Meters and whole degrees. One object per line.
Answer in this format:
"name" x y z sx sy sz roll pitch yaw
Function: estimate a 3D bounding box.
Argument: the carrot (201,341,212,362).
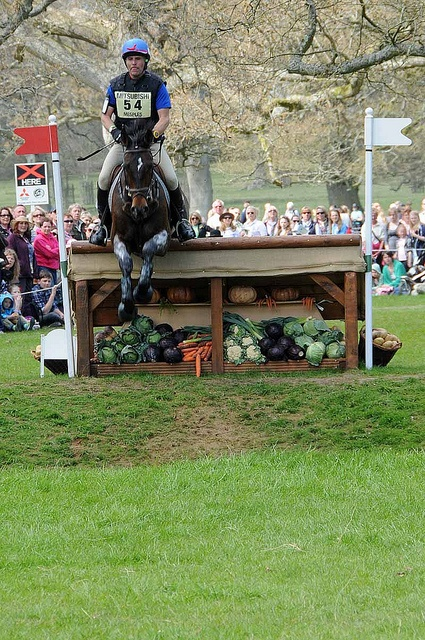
"carrot" -0.069 0.359 10.229 0.142 0.213 0.076 3 -23 14

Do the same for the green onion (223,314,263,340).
"green onion" 0.369 0.070 10.428 0.670 0.176 0.199 18 12 36

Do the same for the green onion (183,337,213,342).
"green onion" -0.176 0.211 10.320 0.376 0.086 0.053 -1 -29 -24

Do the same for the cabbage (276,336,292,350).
"cabbage" 0.853 0.258 10.249 0.169 0.136 0.183 3 1 15

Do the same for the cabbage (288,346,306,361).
"cabbage" 0.954 0.365 10.234 0.203 0.160 0.211 1 2 -16

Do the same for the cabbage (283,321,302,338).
"cabbage" 0.960 0.109 10.409 0.165 0.163 0.217 -2 -2 45

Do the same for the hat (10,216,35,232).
"hat" -3.327 -1.659 15.226 0.283 0.306 0.509 -3 6 -12

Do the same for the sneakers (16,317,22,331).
"sneakers" -3.311 0.054 15.004 0.092 0.229 0.108 1 -4 -22

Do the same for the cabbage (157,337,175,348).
"cabbage" -0.539 0.262 10.241 0.145 0.109 0.112 27 -16 -18

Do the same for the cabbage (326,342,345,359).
"cabbage" 1.433 0.351 10.237 0.220 0.162 0.168 3 7 16

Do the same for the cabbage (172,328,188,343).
"cabbage" -0.387 0.176 10.497 0.141 0.121 0.171 -2 9 2

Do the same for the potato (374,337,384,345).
"potato" 1.958 0.245 10.312 0.108 0.063 0.134 -1 6 10

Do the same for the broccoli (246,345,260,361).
"broccoli" 0.476 0.375 10.210 0.157 0.176 0.075 0 7 19

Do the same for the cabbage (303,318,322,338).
"cabbage" 1.180 0.093 10.387 0.213 0.186 0.168 1 -6 30

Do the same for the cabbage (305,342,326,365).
"cabbage" 1.190 0.389 10.146 0.126 0.252 0.224 16 -34 -35

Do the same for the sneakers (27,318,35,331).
"sneakers" -3.141 0.060 15.267 0.082 0.207 0.156 5 -1 -33

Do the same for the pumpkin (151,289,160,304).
"pumpkin" -0.688 -0.278 10.725 0.160 0.154 0.148 0 10 -6

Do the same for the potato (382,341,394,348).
"potato" 2.047 0.280 10.229 0.098 0.047 0.073 -7 0 32

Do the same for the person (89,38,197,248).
"person" -0.770 -1.921 9.118 1.125 2.243 1.400 -3 7 -3

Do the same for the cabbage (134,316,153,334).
"cabbage" -0.811 0.057 10.329 0.208 0.201 0.133 3 -10 -11

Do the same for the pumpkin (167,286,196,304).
"pumpkin" -0.380 -0.336 10.809 0.250 0.204 0.249 7 11 42

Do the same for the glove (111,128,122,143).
"glove" -0.951 -1.833 8.661 0.123 0.130 0.089 18 35 42

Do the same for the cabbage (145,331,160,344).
"cabbage" -0.696 0.194 10.321 0.159 0.117 0.118 -19 22 -24

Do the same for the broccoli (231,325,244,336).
"broccoli" 0.292 0.118 10.307 0.115 0.041 0.107 -18 53 -31

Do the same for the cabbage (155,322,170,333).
"cabbage" -0.597 0.093 10.517 0.132 0.049 0.122 -10 26 -24

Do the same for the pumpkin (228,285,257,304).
"pumpkin" 0.370 -0.308 10.646 0.267 0.131 0.245 -4 15 -17

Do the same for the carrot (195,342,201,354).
"carrot" -0.172 0.321 10.242 0.051 0.038 0.158 4 39 13

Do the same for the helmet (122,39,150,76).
"helmet" -0.761 -2.630 8.734 0.263 0.382 0.382 -3 7 -5

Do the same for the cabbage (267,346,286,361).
"cabbage" 0.738 0.380 10.157 0.194 0.160 0.180 -5 -7 15

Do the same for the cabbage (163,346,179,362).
"cabbage" -0.457 0.408 10.105 0.216 0.184 0.162 -2 7 -5
